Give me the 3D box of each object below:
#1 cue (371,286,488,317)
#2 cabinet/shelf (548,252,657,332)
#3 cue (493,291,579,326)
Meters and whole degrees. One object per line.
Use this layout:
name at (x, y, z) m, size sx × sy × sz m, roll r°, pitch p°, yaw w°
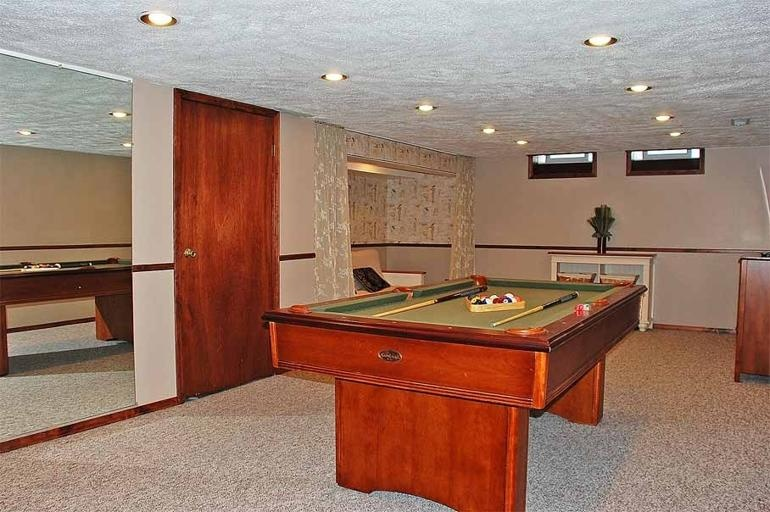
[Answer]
cue at (0.322, 0.341, 3.812) m, size 0.086 × 0.076 × 2.104 m, roll 7°, pitch 7°, yaw 42°
cabinet/shelf at (3.323, 0.468, 7.929) m, size 1.476 × 1.055 × 0.502 m, roll 5°, pitch 9°, yaw 31°
cue at (1.107, 0.417, 3.845) m, size 0.037 × 0.031 × 0.850 m, roll -20°, pitch -9°, yaw -41°
